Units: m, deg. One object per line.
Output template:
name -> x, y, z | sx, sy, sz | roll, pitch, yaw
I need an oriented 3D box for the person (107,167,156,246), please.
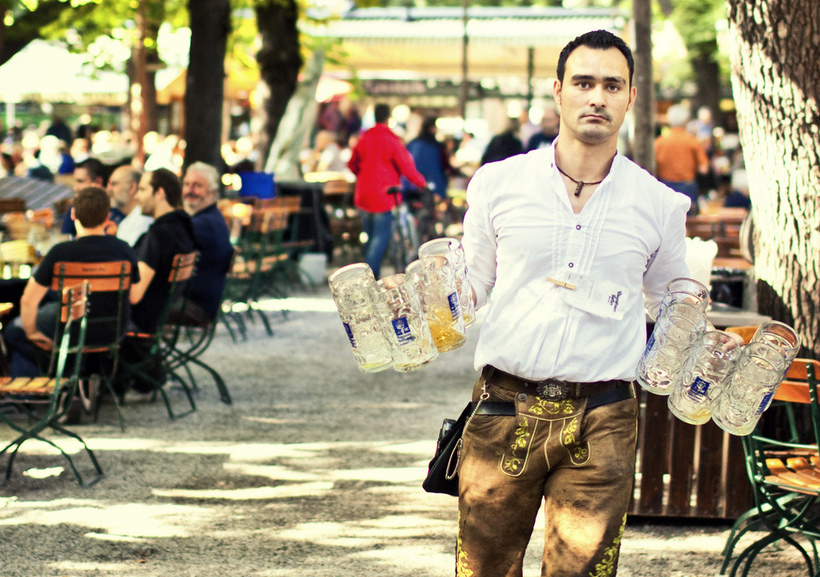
person -> -2.358, -0.685, 11.804 | 0.353, 0.617, 0.708 | 0, 7, -6

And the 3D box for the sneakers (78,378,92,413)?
sneakers -> -2.444, 0.799, 10.438 | 0.058, 0.215, 0.161 | -1, 6, 23

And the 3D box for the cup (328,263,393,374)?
cup -> -0.250, 0.148, 7.187 | 0.328, 0.551, 0.151 | 1, 4, -1

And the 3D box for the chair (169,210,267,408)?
chair -> -1.617, 0.214, 11.587 | 0.581, 1.074, 1.596 | 2, 6, -1
